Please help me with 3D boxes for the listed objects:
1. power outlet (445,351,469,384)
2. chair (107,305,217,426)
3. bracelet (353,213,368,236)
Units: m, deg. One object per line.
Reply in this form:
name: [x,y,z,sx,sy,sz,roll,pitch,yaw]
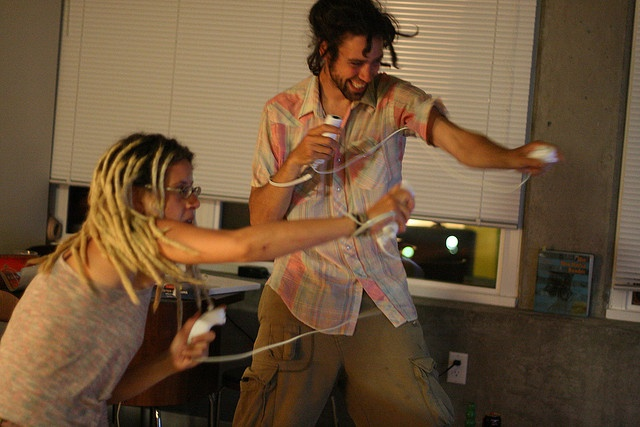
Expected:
power outlet: [0.917,1.034,5.275,0.137,0.224,0.020,4,9,14]
chair: [-0.850,0.837,4.331,0.621,0.735,0.744,1,-2,-1]
bracelet: [0.192,0.053,3.786,0.086,0.091,0.091,-1,9,4]
